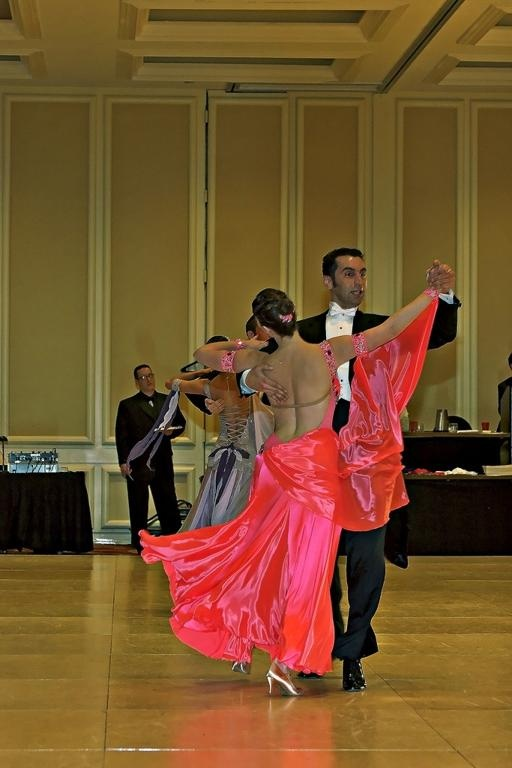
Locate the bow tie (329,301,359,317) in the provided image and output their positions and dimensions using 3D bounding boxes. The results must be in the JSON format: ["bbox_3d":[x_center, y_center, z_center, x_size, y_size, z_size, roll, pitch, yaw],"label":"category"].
[{"bbox_3d":[0.317,-0.275,2.786,0.061,0.031,0.075,2,-22,9],"label":"bow tie"}]

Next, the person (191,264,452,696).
[{"bbox_3d":[0.217,0.293,2.458,0.809,1.328,0.476,-1,1,-17],"label":"person"}]

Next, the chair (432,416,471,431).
[{"bbox_3d":[1.859,0.367,7.037,0.276,0.184,0.210,-1,2,-21],"label":"chair"}]

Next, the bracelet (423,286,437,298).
[{"bbox_3d":[0.556,-0.291,2.389,0.040,0.035,0.010,5,-5,-7],"label":"bracelet"}]

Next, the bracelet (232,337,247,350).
[{"bbox_3d":[-0.056,-0.139,2.565,0.035,0.017,0.045,11,-17,2],"label":"bracelet"}]

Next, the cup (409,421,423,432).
[{"bbox_3d":[1.441,0.388,6.782,0.063,0.098,0.099,7,9,13],"label":"cup"}]

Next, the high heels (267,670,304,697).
[{"bbox_3d":[0.071,0.903,2.232,0.132,0.071,0.041,8,-12,-18],"label":"high heels"}]
